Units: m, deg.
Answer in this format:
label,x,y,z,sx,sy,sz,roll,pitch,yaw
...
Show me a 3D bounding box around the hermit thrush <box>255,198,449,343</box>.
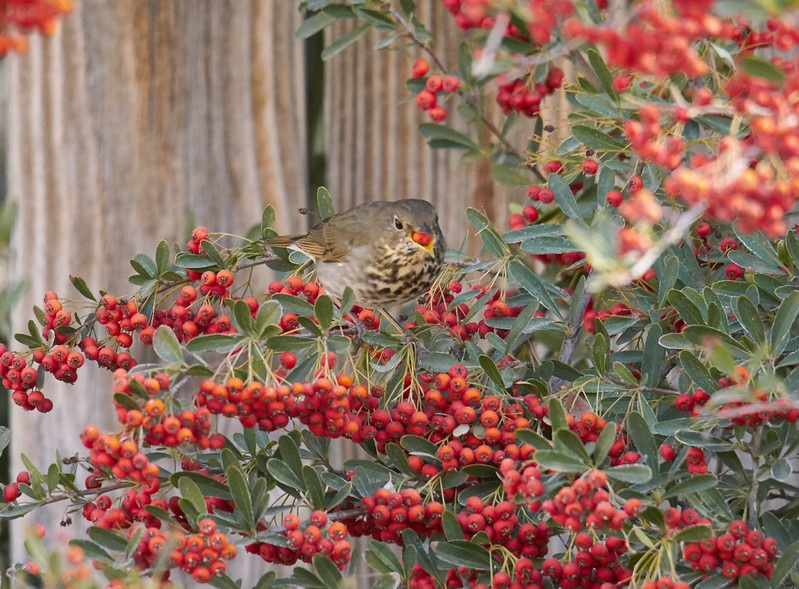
label,x,y,z,sx,sy,sz,roll,pitch,yaw
hermit thrush,-0.237,-0.232,6.922,0.808,0.606,0.458,25,22,30
